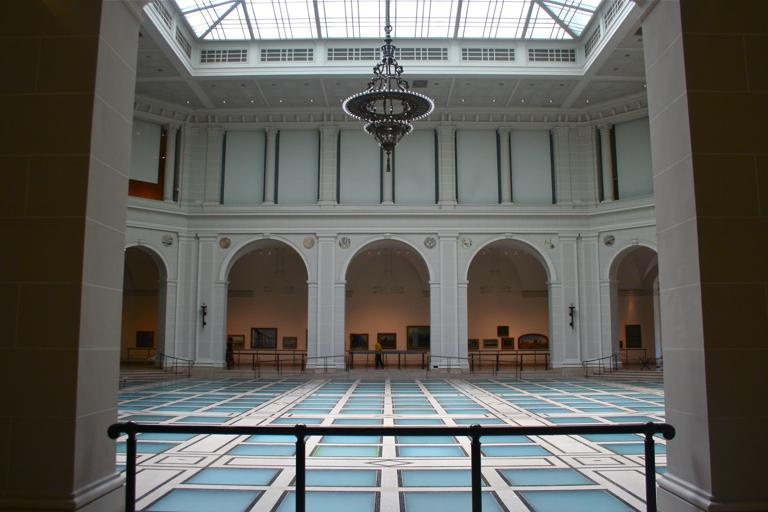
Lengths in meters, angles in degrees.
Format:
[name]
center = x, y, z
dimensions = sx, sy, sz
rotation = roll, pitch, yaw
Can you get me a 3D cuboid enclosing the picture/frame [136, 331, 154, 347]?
[picture/frame]
center = -14.445, 5.084, 32.654
dimensions = 0.921, 0.826, 0.428
rotation = 0, -17, -6
